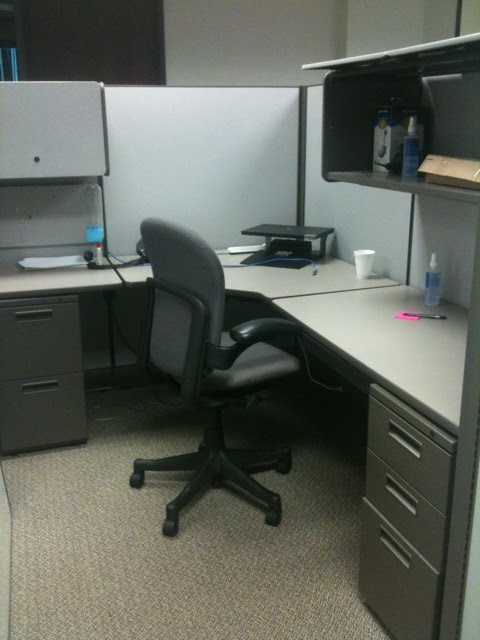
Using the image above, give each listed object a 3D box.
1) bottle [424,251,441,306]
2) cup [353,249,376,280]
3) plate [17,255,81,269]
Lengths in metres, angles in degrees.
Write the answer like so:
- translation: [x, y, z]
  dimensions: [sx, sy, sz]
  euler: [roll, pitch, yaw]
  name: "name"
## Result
- translation: [0.630, -0.140, 1.705]
  dimensions: [0.047, 0.159, 0.157]
  euler: [4, 15, 20]
  name: "bottle"
- translation: [0.485, -0.217, 2.051]
  dimensions: [0.068, 0.106, 0.094]
  euler: [3, 15, 16]
  name: "cup"
- translation: [-0.839, -0.258, 2.354]
  dimensions: [0.284, 0.034, 0.223]
  euler: [-6, 16, -17]
  name: "plate"
